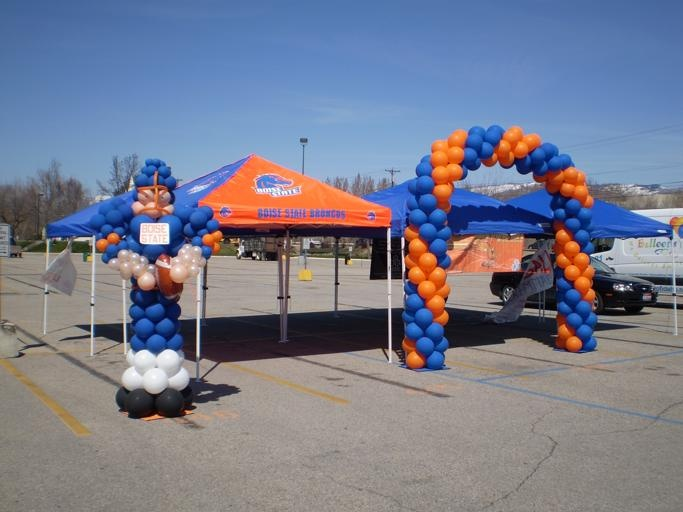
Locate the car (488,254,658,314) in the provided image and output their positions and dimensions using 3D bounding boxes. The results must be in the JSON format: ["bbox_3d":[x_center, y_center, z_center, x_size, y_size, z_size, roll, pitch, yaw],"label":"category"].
[{"bbox_3d":[7.573,1.129,19.885,2.545,1.904,5.409,3,-6,-38],"label":"car"}]
